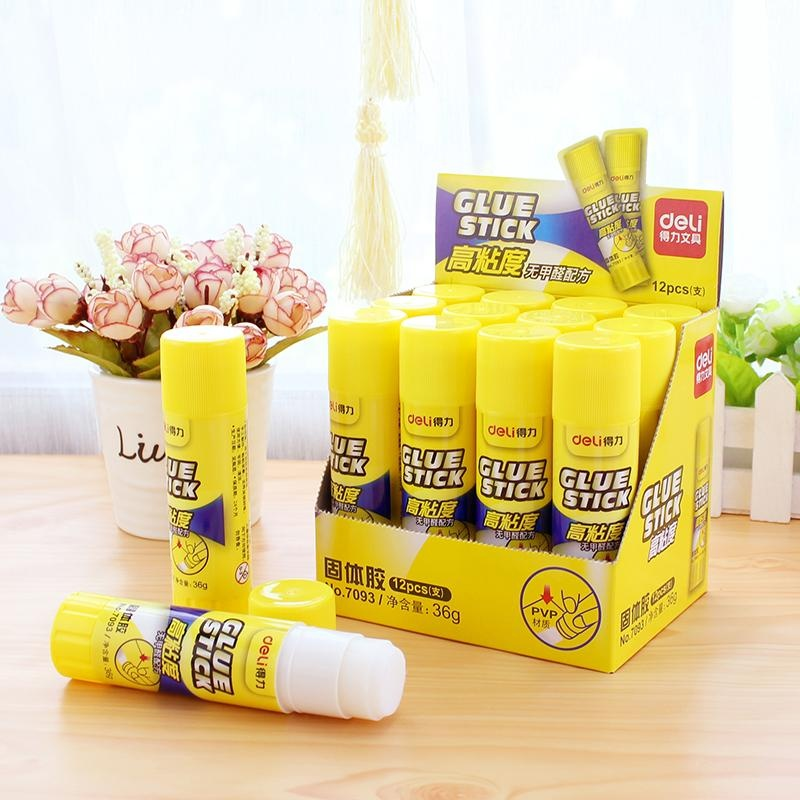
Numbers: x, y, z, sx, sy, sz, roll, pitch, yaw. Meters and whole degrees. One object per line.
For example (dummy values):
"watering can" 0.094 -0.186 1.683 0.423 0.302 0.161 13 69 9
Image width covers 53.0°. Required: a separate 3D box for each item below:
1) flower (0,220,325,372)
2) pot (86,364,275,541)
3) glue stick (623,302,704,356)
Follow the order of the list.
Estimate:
"flower" -0.181 -0.082 0.645 0.245 0.115 0.180 1 13 4
"pot" -0.186 0.032 0.692 0.138 0.125 0.145 0 6 0
"glue stick" 0.171 -0.047 0.499 0.034 0.020 0.034 -2 11 -1
